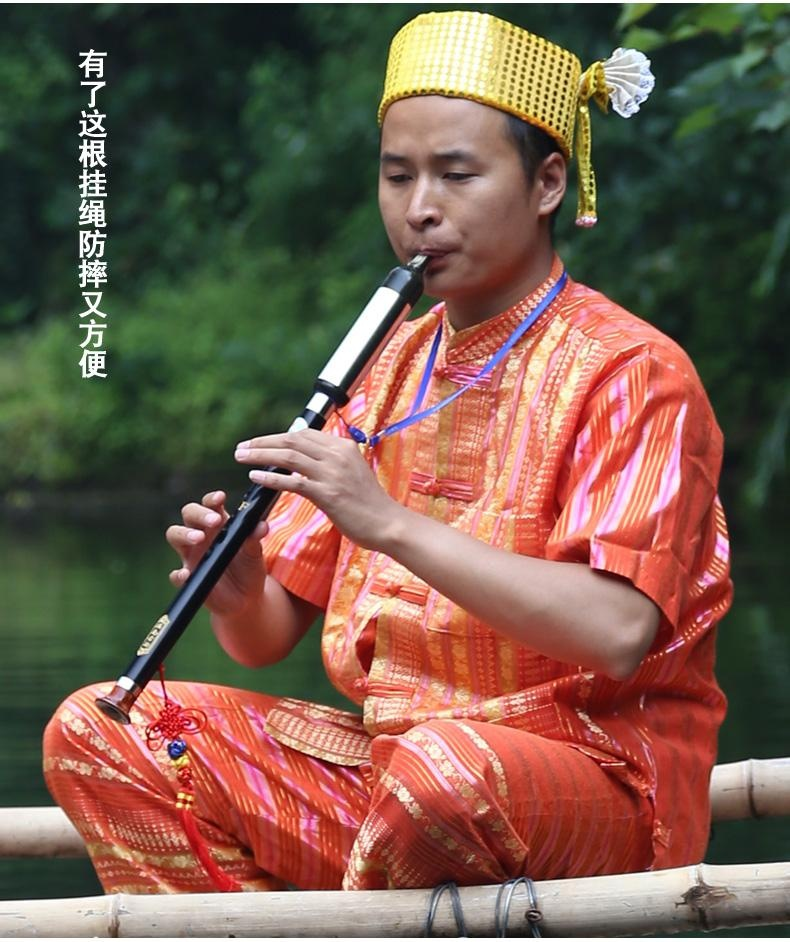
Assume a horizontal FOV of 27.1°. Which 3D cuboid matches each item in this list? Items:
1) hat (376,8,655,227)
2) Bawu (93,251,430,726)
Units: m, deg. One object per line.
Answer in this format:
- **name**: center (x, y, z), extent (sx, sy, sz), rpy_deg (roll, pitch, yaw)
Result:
- **hat**: center (0.165, -0.619, 2.631), extent (0.281, 0.144, 0.365), rpy_deg (2, -10, 39)
- **Bawu**: center (-0.182, 0.017, 2.349), extent (0.257, 0.606, 0.592), rpy_deg (4, 19, 33)
